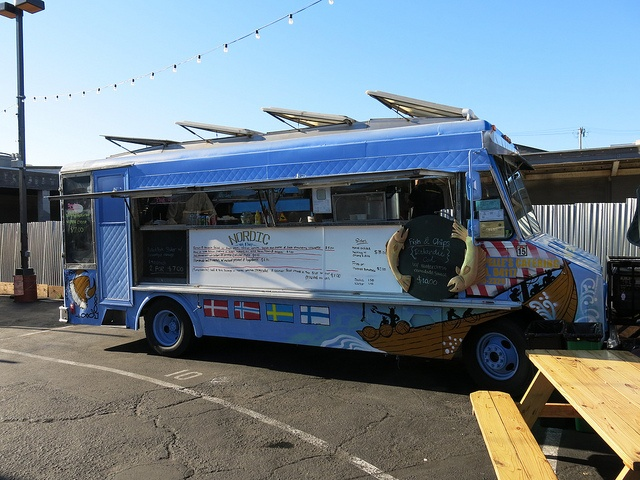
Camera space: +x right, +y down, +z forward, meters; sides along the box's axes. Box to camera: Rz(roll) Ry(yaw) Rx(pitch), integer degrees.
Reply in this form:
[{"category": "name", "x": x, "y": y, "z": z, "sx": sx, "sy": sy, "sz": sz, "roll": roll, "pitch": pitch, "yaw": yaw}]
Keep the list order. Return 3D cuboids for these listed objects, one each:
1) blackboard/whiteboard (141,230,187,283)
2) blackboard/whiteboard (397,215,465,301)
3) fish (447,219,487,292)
[{"category": "blackboard/whiteboard", "x": -2.616, "y": 0.267, "z": 8.924, "sx": 0.936, "sy": 0.912, "sz": 0.089, "roll": 0, "pitch": -2, "yaw": 19}, {"category": "blackboard/whiteboard", "x": 1.545, "y": 0.226, "z": 7.117, "sx": 1.125, "sy": 1.264, "sz": 0.184, "roll": 4, "pitch": 4, "yaw": 25}, {"category": "fish", "x": 1.977, "y": 0.225, "z": 7.000, "sx": 0.500, "sy": 0.933, "sz": 0.212, "roll": 2, "pitch": 9, "yaw": 17}]
